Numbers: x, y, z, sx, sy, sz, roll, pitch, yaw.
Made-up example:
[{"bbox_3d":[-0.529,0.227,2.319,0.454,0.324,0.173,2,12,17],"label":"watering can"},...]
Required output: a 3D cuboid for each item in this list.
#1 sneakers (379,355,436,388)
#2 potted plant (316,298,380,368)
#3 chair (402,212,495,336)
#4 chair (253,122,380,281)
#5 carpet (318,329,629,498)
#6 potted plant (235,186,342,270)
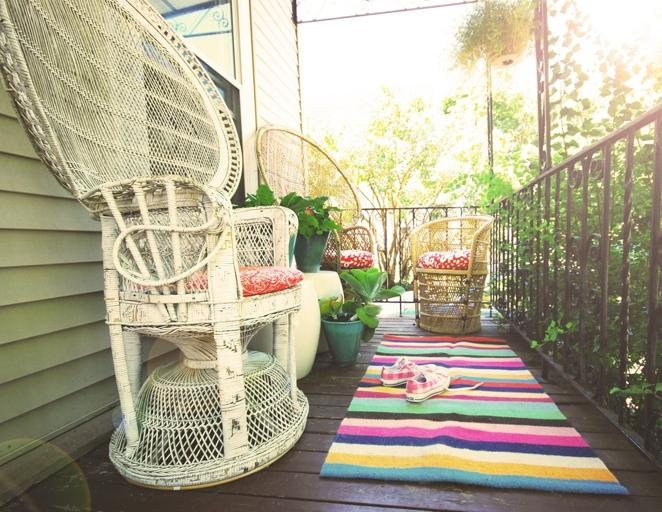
[{"bbox_3d":[0.367,0.563,2.273,0.271,0.096,0.088,-2,0,-30],"label":"sneakers"},{"bbox_3d":[0.065,0.423,2.662,0.397,0.281,0.354,4,-7,-29],"label":"potted plant"},{"bbox_3d":[0.840,0.096,3.320,0.622,0.780,0.522,1,3,20],"label":"chair"},{"bbox_3d":[-0.048,-0.450,3.762,1.155,1.071,1.007,14,6,32],"label":"chair"},{"bbox_3d":[0.540,0.636,2.090,0.988,0.054,1.148,-1,10,9],"label":"carpet"},{"bbox_3d":[-0.154,-0.154,2.847,0.439,0.348,0.394,25,-6,-33],"label":"potted plant"}]
